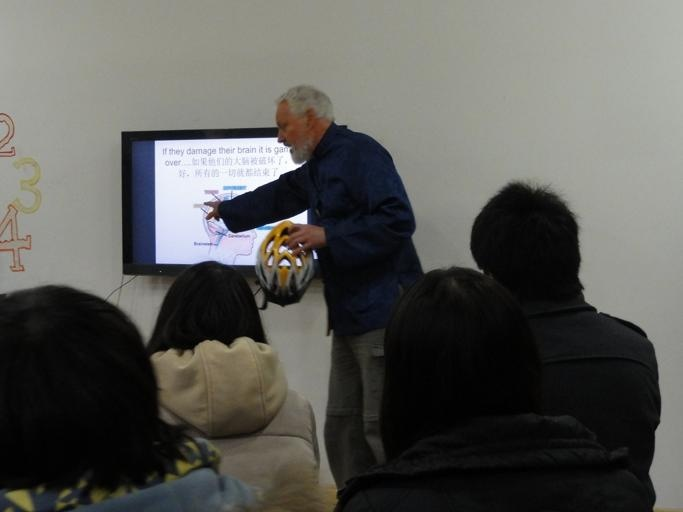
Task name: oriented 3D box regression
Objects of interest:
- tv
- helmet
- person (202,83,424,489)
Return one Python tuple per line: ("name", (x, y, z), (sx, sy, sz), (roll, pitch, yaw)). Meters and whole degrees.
("tv", (-0.569, -0.268, 3.387), (0.725, 0.563, 0.061), (-1, 0, 1))
("helmet", (-0.231, 0.039, 2.788), (0.215, 0.342, 0.128), (6, 4, 5))
("person", (-0.087, 0.259, 3.148), (1.012, 1.898, 0.606), (-3, 4, 31))
